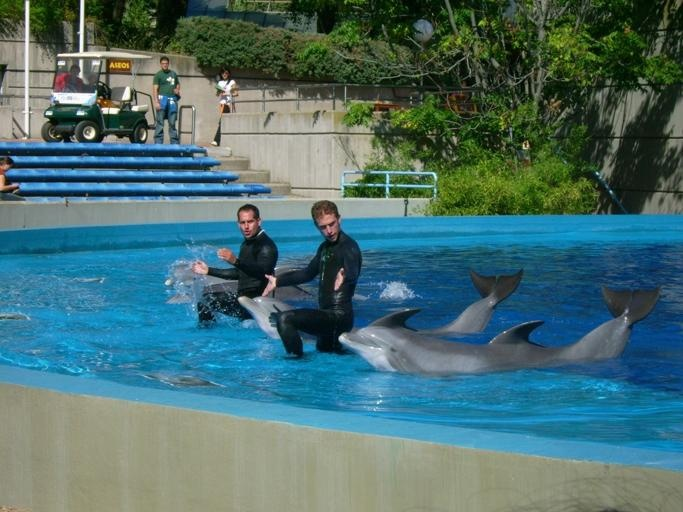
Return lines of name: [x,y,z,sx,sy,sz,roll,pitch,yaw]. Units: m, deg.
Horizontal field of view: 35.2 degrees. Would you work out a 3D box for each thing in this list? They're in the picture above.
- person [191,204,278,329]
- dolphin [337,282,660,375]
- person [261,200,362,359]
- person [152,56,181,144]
person: [-1.041,0.090,10.803,0.812,1.313,0.721,2,14,-25]
dolphin: [1.375,0.640,9.381,2.722,0.732,0.407,1,15,-12]
person: [-0.173,0.256,9.931,0.763,1.549,0.708,1,1,39]
person: [-3.638,-3.223,22.365,0.716,1.861,0.603,0,1,-7]
